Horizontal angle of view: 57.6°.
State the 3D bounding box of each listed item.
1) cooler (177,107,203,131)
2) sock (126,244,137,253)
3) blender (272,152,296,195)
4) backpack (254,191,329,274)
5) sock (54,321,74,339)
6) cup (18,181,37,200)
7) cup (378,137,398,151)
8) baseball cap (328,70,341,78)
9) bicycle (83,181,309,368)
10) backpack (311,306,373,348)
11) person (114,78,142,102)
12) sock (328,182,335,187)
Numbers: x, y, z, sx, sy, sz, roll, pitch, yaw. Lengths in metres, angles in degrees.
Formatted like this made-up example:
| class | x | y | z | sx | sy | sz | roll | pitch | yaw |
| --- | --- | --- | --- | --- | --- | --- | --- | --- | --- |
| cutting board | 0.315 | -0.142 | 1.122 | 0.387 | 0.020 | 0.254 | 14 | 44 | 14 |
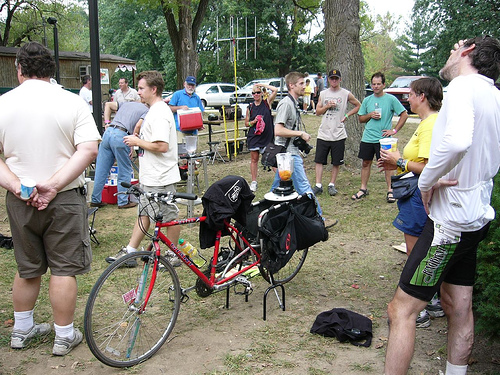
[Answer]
| class | x | y | z | sx | sy | sz | roll | pitch | yaw |
| --- | --- | --- | --- | --- | --- | --- | --- | --- | --- |
| cooler | -0.950 | -1.193 | 7.831 | 0.423 | 0.348 | 0.230 | 0 | 26 | 30 |
| sock | -1.355 | 0.694 | 5.199 | 0.110 | 0.105 | 0.107 | -2 | 2 | -5 |
| blender | 0.378 | -0.136 | 4.832 | 0.403 | 0.439 | 0.383 | 0 | 5 | 12 |
| backpack | 0.431 | 0.410 | 4.628 | 0.951 | 0.595 | 0.175 | -20 | 13 | -38 |
| sock | -1.603 | 1.236 | 3.941 | 0.122 | 0.134 | 0.145 | -3 | 4 | -7 |
| cup | -1.762 | 0.025 | 3.620 | 0.125 | 0.163 | 0.116 | 1 | 10 | 0 |
| cup | 1.335 | -0.413 | 4.398 | 0.149 | 0.111 | 0.138 | 0 | 10 | 0 |
| baseball cap | 1.563 | -2.096 | 8.456 | 0.205 | 0.160 | 0.419 | 3 | 10 | 7 |
| bicycle | -0.712 | 0.668 | 4.726 | 2.495 | 1.303 | 1.103 | -10 | 22 | -43 |
| backpack | 0.889 | 1.310 | 4.346 | 0.558 | 0.159 | 0.437 | 5 | 11 | 20 |
| person | -2.987 | -2.275 | 11.007 | 0.772 | 0.703 | 0.422 | 2 | 10 | 11 |
| sock | 1.516 | -0.054 | 8.512 | 0.090 | 0.081 | 0.089 | 3 | 3 | 10 |
